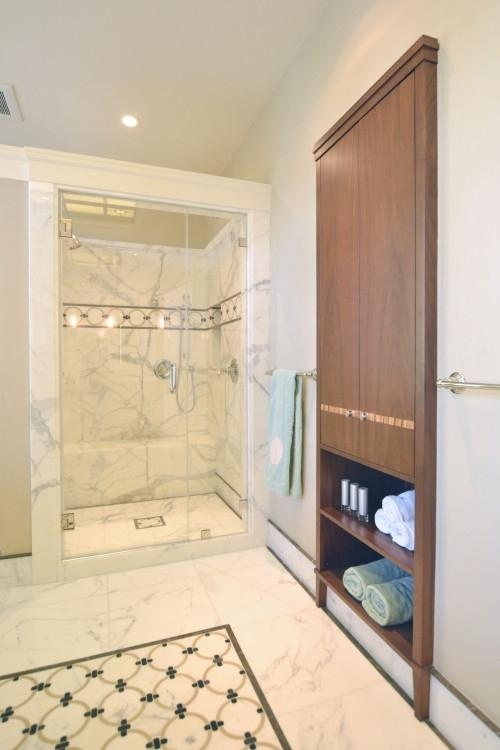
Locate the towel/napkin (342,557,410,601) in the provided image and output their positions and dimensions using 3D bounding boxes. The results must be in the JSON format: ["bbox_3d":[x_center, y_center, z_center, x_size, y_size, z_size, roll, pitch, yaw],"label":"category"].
[{"bbox_3d":[0.412,0.693,1.782,0.186,0.083,0.161,-6,3,-28],"label":"towel/napkin"}]

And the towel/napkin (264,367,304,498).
[{"bbox_3d":[0.147,0.253,2.334,0.104,0.556,0.312,-2,4,-23],"label":"towel/napkin"}]

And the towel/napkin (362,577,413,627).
[{"bbox_3d":[0.428,0.722,1.628,0.135,0.061,0.149,-6,0,-8],"label":"towel/napkin"}]
